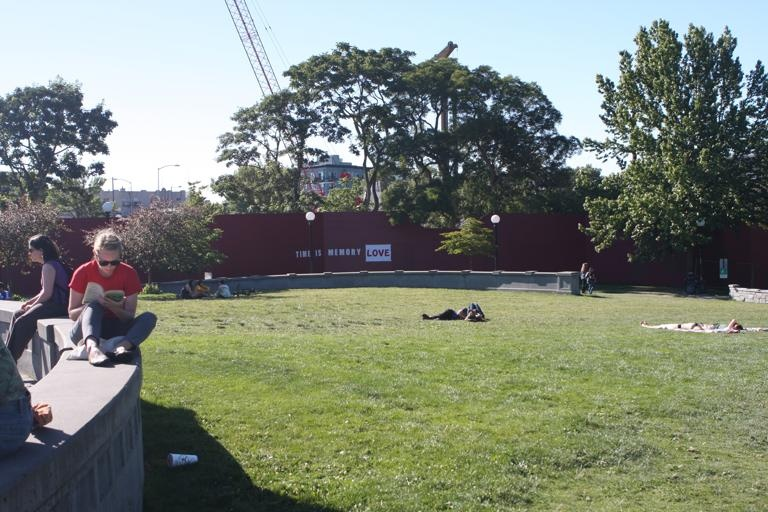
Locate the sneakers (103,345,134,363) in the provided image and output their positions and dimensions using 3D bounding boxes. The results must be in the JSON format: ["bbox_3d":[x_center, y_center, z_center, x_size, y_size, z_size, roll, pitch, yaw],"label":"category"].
[{"bbox_3d":[-4.954,1.882,16.885,0.599,0.251,0.232,-10,-10,34],"label":"sneakers"}]

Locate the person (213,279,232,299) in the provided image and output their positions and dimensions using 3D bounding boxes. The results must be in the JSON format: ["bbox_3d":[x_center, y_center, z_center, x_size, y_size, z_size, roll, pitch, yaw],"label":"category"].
[{"bbox_3d":[-6.625,1.385,36.822,0.702,0.940,0.827,-2,0,-18],"label":"person"}]

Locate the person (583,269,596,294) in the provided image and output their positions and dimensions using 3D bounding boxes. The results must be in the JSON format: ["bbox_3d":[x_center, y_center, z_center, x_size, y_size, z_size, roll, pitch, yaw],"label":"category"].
[{"bbox_3d":[9.130,1.166,40.170,0.375,1.112,1.824,-1,-2,17],"label":"person"}]

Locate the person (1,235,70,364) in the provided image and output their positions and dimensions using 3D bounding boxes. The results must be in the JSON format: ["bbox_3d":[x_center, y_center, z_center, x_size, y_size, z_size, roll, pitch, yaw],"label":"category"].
[{"bbox_3d":[-7.297,0.895,19.097,1.188,2.680,0.901,0,-1,-22],"label":"person"}]

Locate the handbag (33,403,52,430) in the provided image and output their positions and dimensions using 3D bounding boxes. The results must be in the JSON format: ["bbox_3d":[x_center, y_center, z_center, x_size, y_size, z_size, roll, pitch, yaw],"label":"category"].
[{"bbox_3d":[-5.706,2.688,15.103,0.338,0.355,0.317,4,-8,-31],"label":"handbag"}]

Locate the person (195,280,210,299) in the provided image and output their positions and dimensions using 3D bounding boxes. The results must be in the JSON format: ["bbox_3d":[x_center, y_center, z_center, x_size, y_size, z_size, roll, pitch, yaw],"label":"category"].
[{"bbox_3d":[-7.333,1.385,36.268,0.633,0.896,0.617,-4,-3,26],"label":"person"}]

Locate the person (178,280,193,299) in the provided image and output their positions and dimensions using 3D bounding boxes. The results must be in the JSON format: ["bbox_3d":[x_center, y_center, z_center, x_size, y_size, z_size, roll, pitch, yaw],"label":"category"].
[{"bbox_3d":[-7.811,1.404,35.752,0.490,0.568,0.973,0,-2,-12],"label":"person"}]

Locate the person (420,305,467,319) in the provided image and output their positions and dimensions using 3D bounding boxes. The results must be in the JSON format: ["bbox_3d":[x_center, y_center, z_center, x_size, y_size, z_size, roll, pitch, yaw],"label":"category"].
[{"bbox_3d":[2.004,1.956,29.302,1.552,0.486,0.535,-11,-7,22],"label":"person"}]

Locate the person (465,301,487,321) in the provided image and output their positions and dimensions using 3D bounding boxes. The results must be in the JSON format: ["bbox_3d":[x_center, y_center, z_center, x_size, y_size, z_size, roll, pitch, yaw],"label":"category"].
[{"bbox_3d":[2.944,1.834,28.976,0.601,0.546,0.800,-1,-2,6],"label":"person"}]

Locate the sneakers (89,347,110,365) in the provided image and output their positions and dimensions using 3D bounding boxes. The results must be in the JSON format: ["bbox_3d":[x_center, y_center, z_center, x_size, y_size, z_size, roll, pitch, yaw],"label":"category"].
[{"bbox_3d":[-5.273,1.899,16.682,0.183,0.255,0.553,-7,-5,-34],"label":"sneakers"}]
